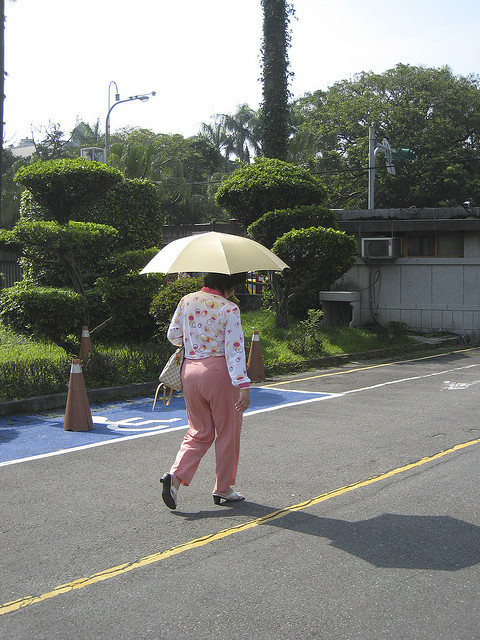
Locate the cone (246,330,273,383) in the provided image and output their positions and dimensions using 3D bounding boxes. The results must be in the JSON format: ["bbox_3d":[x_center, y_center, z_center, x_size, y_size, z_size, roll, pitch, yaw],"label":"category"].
[{"bbox_3d":[0.340,0.629,12.252,0.424,0.924,0.713,0,2,2],"label":"cone"}]

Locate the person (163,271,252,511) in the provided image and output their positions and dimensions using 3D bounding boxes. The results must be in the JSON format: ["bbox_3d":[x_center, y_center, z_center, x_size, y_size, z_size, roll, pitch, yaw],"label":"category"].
[{"bbox_3d":[-0.248,0.507,4.903,0.592,1.696,0.539,-1,2,-5],"label":"person"}]

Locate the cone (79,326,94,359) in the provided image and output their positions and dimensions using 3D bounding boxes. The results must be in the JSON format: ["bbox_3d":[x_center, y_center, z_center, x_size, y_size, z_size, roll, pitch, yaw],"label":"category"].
[{"bbox_3d":[-2.570,0.365,11.543,0.217,0.506,0.812,-1,2,-12],"label":"cone"}]

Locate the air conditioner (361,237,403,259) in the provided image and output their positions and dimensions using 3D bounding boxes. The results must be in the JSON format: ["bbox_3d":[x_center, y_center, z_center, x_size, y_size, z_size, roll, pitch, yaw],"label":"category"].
[{"bbox_3d":[4.329,-2.227,21.109,1.248,0.643,0.784,0,2,11],"label":"air conditioner"}]
